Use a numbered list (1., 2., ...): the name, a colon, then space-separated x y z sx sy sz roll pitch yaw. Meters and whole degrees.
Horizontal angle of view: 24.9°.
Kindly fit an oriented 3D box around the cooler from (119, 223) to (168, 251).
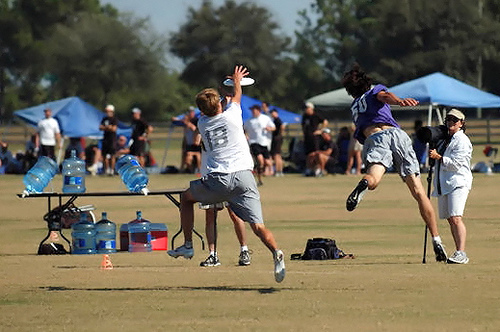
1. cooler: -2.445 1.610 26.264 1.074 0.623 0.314 -2 0 -7

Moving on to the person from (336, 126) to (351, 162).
1. person: 3.383 -0.747 40.696 0.256 1.010 0.738 7 5 -17

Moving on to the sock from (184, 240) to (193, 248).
1. sock: -1.292 1.630 24.170 0.156 0.115 0.149 2 4 7

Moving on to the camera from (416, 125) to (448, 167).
1. camera: 3.993 -0.638 24.866 0.764 0.773 0.402 -2 0 -43

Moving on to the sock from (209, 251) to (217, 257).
1. sock: -0.804 1.900 24.950 0.136 0.122 0.131 0 -5 3
